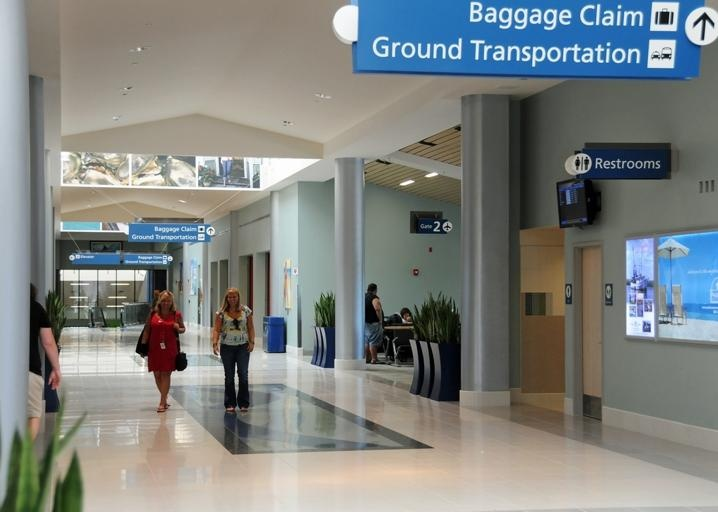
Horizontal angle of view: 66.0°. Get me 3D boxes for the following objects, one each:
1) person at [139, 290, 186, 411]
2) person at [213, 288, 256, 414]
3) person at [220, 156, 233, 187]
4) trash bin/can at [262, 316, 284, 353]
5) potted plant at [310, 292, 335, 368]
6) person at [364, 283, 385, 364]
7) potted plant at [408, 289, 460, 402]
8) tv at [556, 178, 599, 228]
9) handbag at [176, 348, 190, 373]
[{"bbox_3d":[-3.070,1.447,8.519,0.638,1.814,1.200,2,-4,-22],"label":"person"},{"bbox_3d":[-1.882,1.411,8.283,0.561,1.833,1.110,1,-4,-13],"label":"person"},{"bbox_3d":[-4.339,-2.707,18.159,0.375,0.924,0.107,3,-5,-36],"label":"person"},{"bbox_3d":[-2.710,2.488,17.575,0.750,1.143,0.461,-1,-4,12],"label":"trash bin/can"},{"bbox_3d":[-0.895,1.943,14.356,0.463,1.810,1.140,1,-4,-17],"label":"potted plant"},{"bbox_3d":[0.373,1.779,14.445,0.425,2.042,0.679,0,-4,1],"label":"person"},{"bbox_3d":[1.361,1.607,9.737,0.524,1.754,1.084,3,-5,-32],"label":"potted plant"},{"bbox_3d":[3.194,-0.765,8.038,0.351,0.707,0.688,-3,-2,-16],"label":"tv"},{"bbox_3d":[-2.674,1.574,8.304,0.141,0.279,0.296,1,-4,-12],"label":"handbag"}]
